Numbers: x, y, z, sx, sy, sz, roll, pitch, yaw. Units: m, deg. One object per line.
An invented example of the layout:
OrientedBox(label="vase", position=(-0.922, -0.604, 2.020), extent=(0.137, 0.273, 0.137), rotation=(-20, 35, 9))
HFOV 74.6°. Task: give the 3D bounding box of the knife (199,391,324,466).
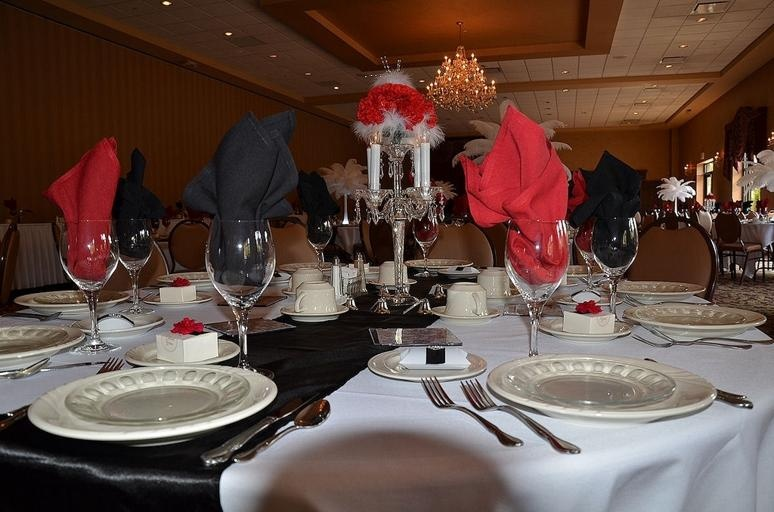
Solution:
OrientedBox(label="knife", position=(-0.199, 0.245, 0.850), extent=(0.045, 0.020, 0.281), rotation=(5, 13, 24))

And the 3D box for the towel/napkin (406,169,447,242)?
OrientedBox(label="towel/napkin", position=(0.166, -0.145, 2.001), extent=(0.141, 0.238, 0.150), rotation=(-11, -3, 13))

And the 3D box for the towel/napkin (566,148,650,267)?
OrientedBox(label="towel/napkin", position=(0.682, -0.162, 1.608), extent=(0.301, 0.342, 0.135), rotation=(4, -7, 19))

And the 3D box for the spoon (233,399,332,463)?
OrientedBox(label="spoon", position=(-0.153, 0.248, 0.806), extent=(0.043, 0.031, 0.228), rotation=(12, 13, 22))

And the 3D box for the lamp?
OrientedBox(label="lamp", position=(1.208, -3.040, 8.324), extent=(1.015, 1.355, 0.966), rotation=(-15, 28, -26))

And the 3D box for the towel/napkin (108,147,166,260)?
OrientedBox(label="towel/napkin", position=(-0.828, -0.204, 1.670), extent=(0.171, 0.308, 0.117), rotation=(-13, 27, -29))
